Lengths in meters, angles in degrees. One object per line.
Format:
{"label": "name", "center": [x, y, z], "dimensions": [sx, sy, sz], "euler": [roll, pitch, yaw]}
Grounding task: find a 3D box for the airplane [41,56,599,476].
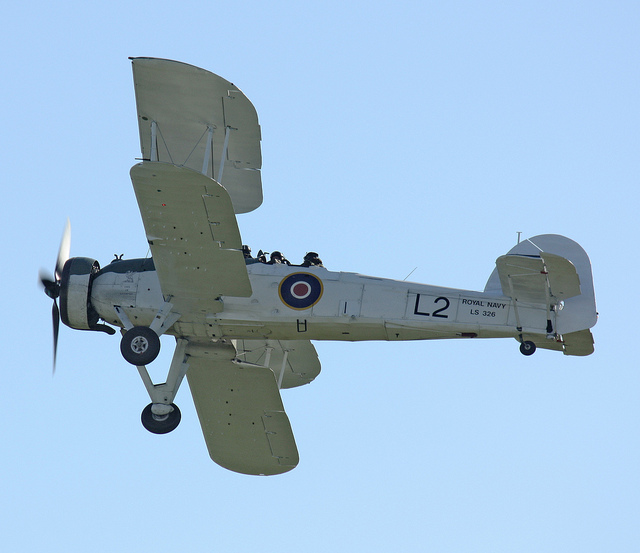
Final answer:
{"label": "airplane", "center": [0.087, 0.966, 25.495], "dimensions": [10.120, 3.253, 10.829], "euler": [4, -28, -1]}
